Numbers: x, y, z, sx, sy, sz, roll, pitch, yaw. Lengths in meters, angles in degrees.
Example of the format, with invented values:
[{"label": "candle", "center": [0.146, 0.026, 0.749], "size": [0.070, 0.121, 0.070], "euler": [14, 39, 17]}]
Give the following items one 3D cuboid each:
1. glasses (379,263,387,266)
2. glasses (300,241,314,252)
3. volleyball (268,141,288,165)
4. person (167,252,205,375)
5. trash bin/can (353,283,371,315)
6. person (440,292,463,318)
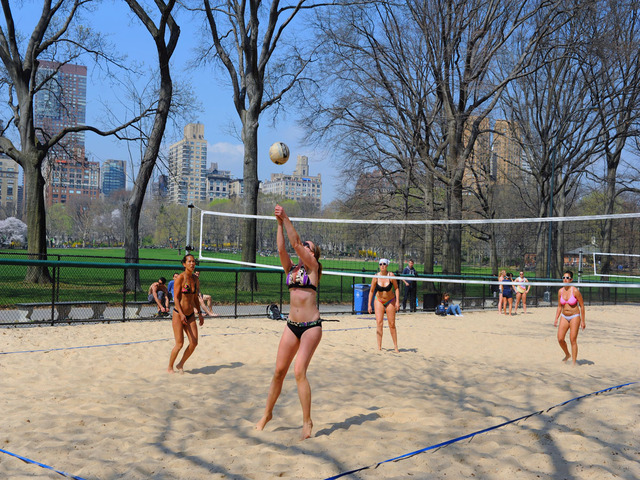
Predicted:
[{"label": "glasses", "center": [1.736, 0.633, 19.972], "size": [0.203, 0.087, 0.190], "euler": [1, -2, -3]}, {"label": "glasses", "center": [-0.220, 0.108, 14.994], "size": [0.143, 0.151, 0.224], "euler": [-9, -43, -5]}, {"label": "volleyball", "center": [-0.984, -2.078, 17.640], "size": [0.395, 0.474, 0.368], "euler": [0, -1, 39]}, {"label": "person", "center": [-3.232, 1.746, 17.806], "size": [0.782, 2.806, 0.908], "euler": [1, -1, -11]}, {"label": "trash bin/can", "center": [1.534, 2.203, 27.593], "size": [0.809, 1.520, 0.890], "euler": [0, -5, 1]}, {"label": "person", "center": [4.975, 2.521, 28.913], "size": [0.909, 1.221, 0.831], "euler": [-7, -10, 42]}]
